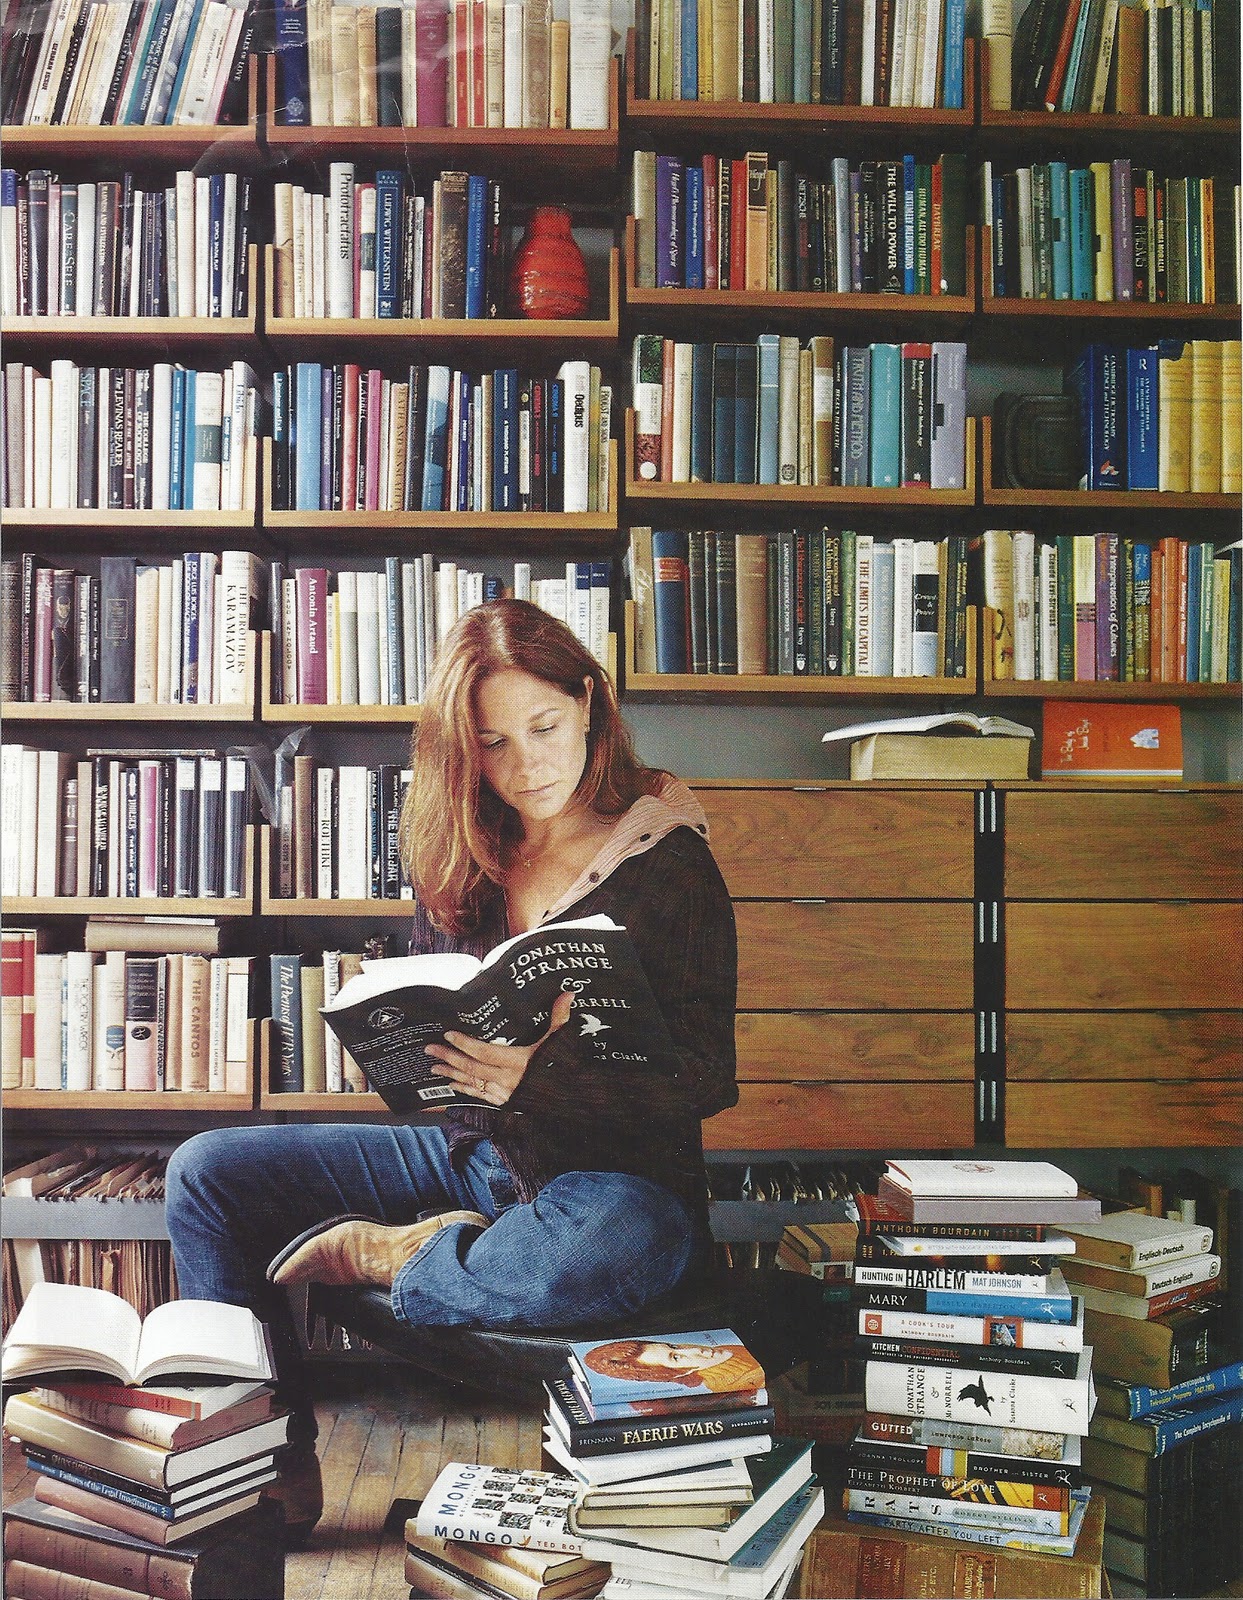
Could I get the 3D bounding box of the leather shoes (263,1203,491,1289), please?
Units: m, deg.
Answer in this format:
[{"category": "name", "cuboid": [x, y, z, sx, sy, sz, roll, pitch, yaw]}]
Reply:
[{"category": "leather shoes", "cuboid": [-0.301, 0.536, 2.332, 0.292, 0.113, 0.093, 10, -19, 3]}]
